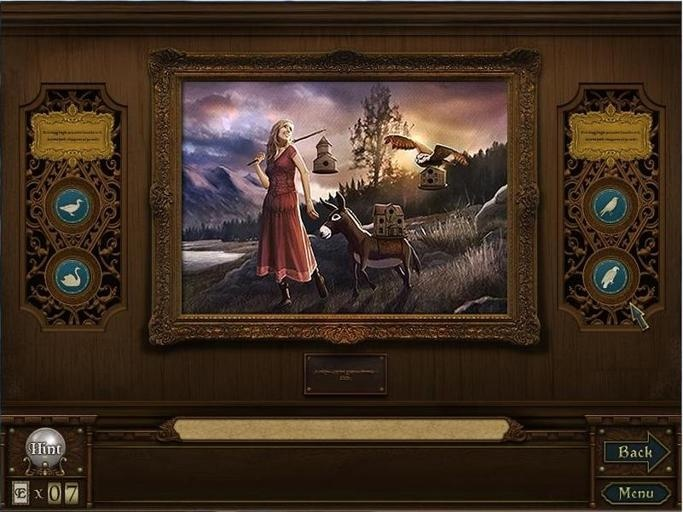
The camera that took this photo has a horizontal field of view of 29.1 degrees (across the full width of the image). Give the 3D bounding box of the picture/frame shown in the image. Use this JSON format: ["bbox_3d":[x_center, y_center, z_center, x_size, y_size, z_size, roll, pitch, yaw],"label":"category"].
[{"bbox_3d":[0.086,-0.472,10.259,2.524,1.742,0.070,0,0,3],"label":"picture/frame"}]
